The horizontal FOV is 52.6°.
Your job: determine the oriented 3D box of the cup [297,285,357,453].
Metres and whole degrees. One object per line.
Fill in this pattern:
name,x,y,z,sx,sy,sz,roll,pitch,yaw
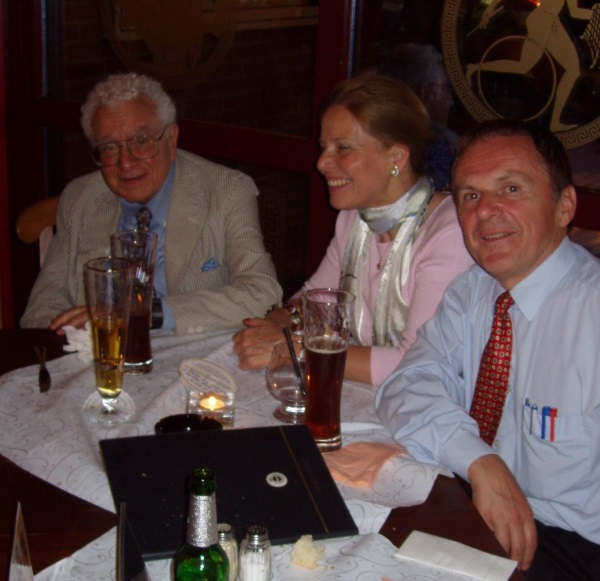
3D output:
cup,0.044,0.147,1.135,0.084,0.290,0.085,2,1,0

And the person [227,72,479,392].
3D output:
person,0.166,-0.258,2.025,0.838,1.182,0.775,-3,17,-16

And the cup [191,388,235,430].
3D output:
cup,-0.177,0.240,1.217,0.087,0.051,0.091,4,10,-1

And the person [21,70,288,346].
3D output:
person,-0.589,-0.127,2.276,1.030,1.268,0.682,1,13,-1
